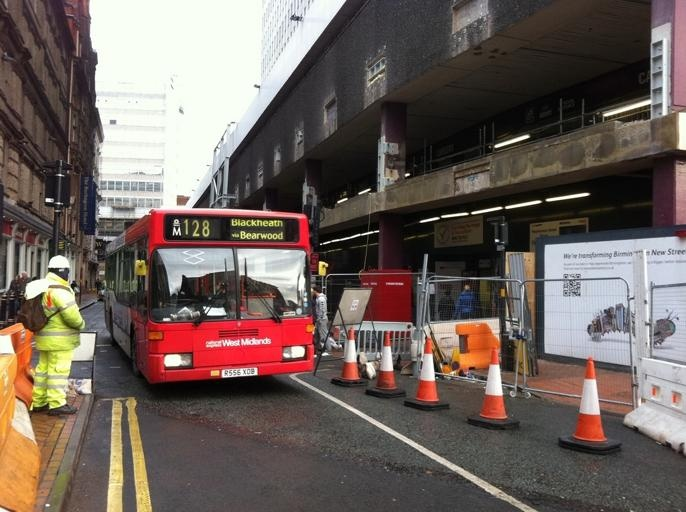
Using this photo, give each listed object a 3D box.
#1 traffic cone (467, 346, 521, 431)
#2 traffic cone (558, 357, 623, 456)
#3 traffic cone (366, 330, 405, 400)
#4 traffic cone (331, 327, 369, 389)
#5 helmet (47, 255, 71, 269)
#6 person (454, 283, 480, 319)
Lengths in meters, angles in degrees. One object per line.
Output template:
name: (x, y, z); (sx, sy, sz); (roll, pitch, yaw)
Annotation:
traffic cone: (2.494, 2.078, 9.248); (0.778, 1.248, 1.154); (0, 1, 18)
traffic cone: (3.578, 2.081, 8.095); (0.793, 1.253, 0.933); (1, 1, 29)
traffic cone: (0.784, 2.129, 11.203); (0.889, 1.472, 0.996); (0, 0, 10)
traffic cone: (0.124, 2.122, 12.105); (0.671, 1.187, 1.070); (0, 1, 1)
helmet: (-4.515, 0.106, 8.880); (0.270, 0.209, 0.344); (7, -7, -39)
person: (2.831, 1.041, 12.888); (0.530, 0.807, 0.140); (0, 1, 5)
